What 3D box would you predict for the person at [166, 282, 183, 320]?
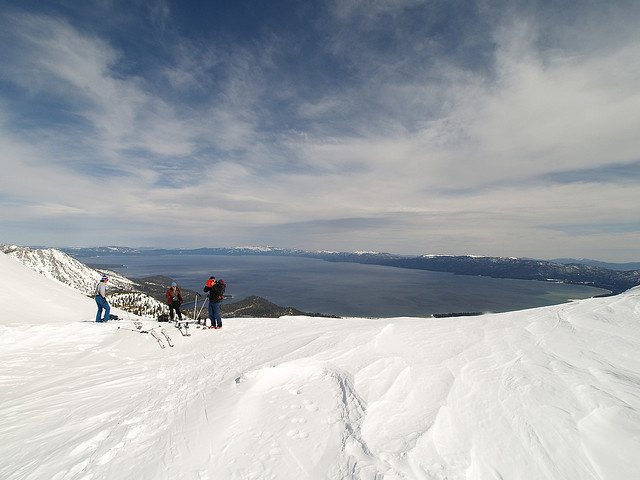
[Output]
[{"bbox_3d":[-9.154,3.948,21.984,0.908,2.221,1.522,3,-6,-22],"label":"person"}]
